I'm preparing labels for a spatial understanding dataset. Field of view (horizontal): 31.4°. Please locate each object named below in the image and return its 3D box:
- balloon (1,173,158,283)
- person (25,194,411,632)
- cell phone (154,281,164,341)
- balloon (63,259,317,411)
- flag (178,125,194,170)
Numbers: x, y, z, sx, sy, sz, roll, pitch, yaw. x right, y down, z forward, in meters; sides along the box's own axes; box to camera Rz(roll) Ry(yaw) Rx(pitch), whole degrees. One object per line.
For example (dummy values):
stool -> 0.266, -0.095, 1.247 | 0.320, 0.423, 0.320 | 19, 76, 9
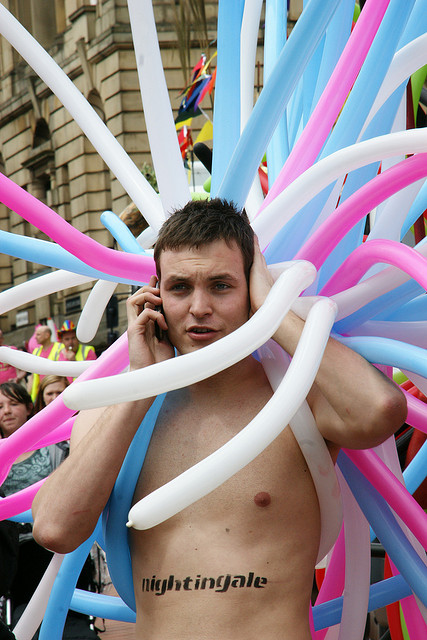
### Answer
balloon -> -0.344, -0.228, 2.002 | 0.480, 0.244, 0.160 | -1, -4, -36
person -> 0.010, 0.217, 1.958 | 0.929, 1.160, 0.439 | -5, -3, 25
cell phone -> -0.147, -0.018, 2.074 | 0.028, 0.143, 0.035 | -4, 6, -22
balloon -> -0.022, 0.015, 1.641 | 0.616, 0.305, 0.197 | -3, -3, -16
flag -> -0.232, -1.457, 6.142 | 0.047, 0.309, 0.354 | -10, 13, -10
